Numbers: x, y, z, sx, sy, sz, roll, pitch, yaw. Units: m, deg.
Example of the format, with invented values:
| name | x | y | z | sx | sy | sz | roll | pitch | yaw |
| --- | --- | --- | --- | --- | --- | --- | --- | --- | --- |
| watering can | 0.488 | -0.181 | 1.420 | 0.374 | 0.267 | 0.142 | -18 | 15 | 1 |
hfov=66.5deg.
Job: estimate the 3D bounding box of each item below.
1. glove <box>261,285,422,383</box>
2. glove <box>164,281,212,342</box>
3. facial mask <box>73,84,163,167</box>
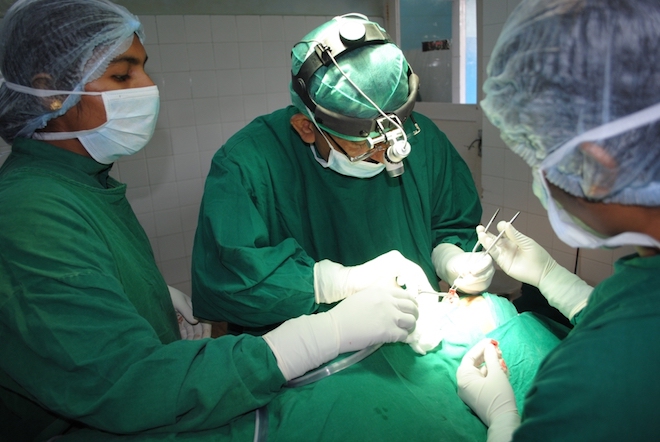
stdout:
| name | x | y | z | sx | sy | sz | roll | pitch | yaw |
| --- | --- | --- | --- | --- | --- | --- | --- | --- | --- |
| glove | 0.070 | 0.475 | 2.132 | 0.711 | 0.227 | 0.278 | -25 | 62 | -18 |
| glove | -0.743 | 0.485 | 2.628 | 0.231 | 0.251 | 0.411 | 5 | 7 | -21 |
| facial mask | -0.856 | -0.402 | 2.108 | 0.307 | 0.263 | 0.314 | 7 | 19 | -4 |
